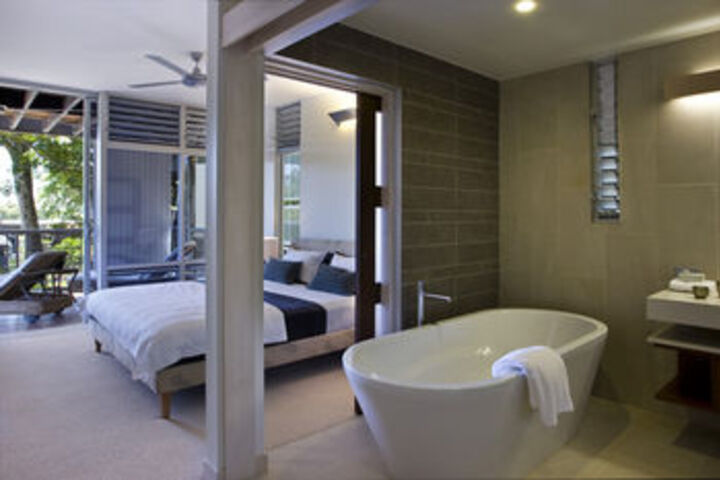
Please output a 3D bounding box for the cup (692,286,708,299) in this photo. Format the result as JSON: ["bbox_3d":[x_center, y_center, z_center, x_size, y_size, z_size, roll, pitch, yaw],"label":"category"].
[{"bbox_3d":[2.839,0.431,4.008,0.125,0.091,0.100,-2,3,-37],"label":"cup"}]

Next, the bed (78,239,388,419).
[{"bbox_3d":[-1.248,0.879,5.225,2.278,1.060,2.350,2,-2,-38],"label":"bed"}]

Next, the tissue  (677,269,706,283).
[{"bbox_3d":[2.961,0.331,4.290,0.173,0.083,0.123,5,6,44],"label":"tissue "}]

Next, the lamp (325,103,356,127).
[{"bbox_3d":[-0.252,-1.669,6.447,0.162,0.188,0.608,-3,2,-36],"label":"lamp"}]
